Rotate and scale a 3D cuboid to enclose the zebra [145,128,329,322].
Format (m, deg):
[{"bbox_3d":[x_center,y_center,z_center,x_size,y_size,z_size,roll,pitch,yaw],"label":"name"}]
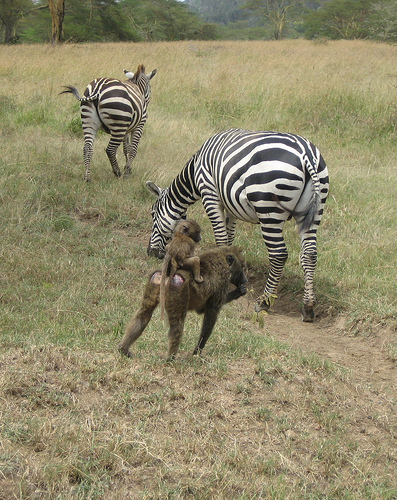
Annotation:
[{"bbox_3d":[0.332,-0.486,9.536,0.986,2.041,2.897,-5,16,-38],"label":"zebra"}]
